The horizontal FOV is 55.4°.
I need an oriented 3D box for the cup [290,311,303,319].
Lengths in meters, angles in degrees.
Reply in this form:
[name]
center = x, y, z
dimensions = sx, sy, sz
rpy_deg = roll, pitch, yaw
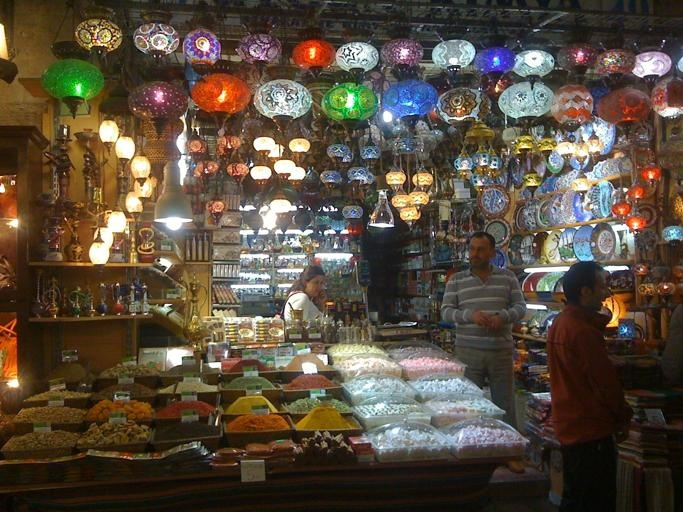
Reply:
[cup]
center = -0.438, 0.582, 6.320
dimensions = 0.087, 0.060, 0.086
rpy_deg = 0, 2, 0
